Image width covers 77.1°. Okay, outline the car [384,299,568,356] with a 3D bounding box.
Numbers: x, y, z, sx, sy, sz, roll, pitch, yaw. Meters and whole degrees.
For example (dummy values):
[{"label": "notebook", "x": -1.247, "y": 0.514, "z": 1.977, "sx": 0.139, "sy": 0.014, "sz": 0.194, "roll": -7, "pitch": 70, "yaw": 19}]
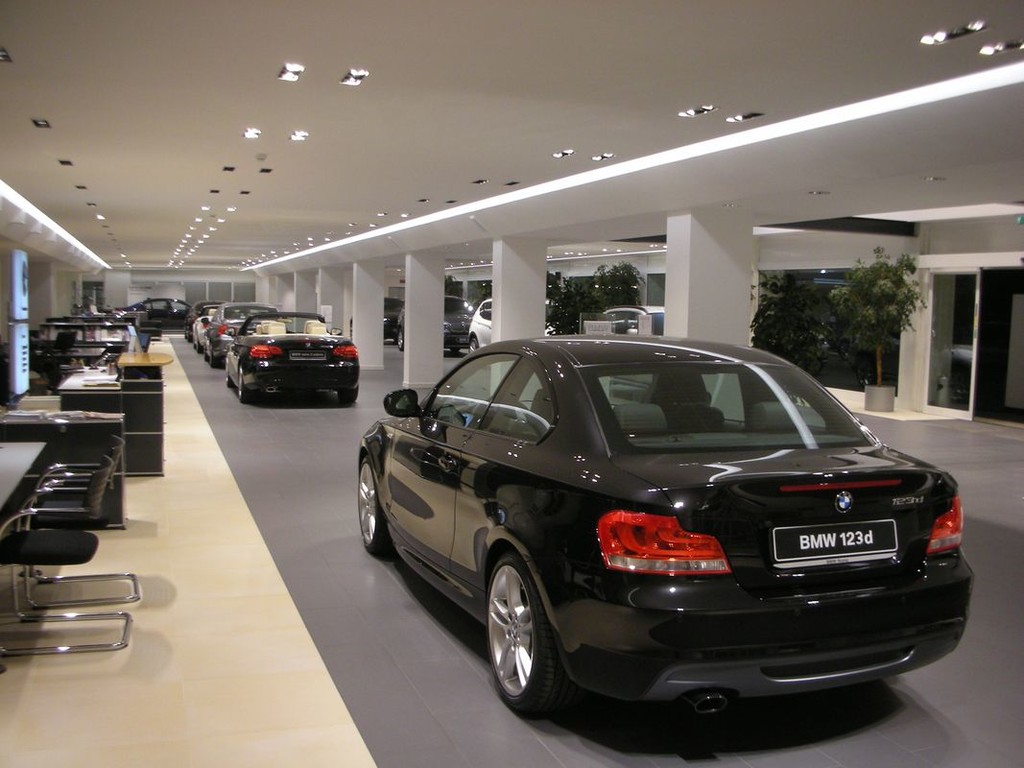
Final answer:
[{"label": "car", "x": -1.289, "y": -2.514, "z": 23.923, "sx": 2.753, "sy": 2.299, "sz": 4.976, "roll": 0, "pitch": 1, "yaw": -38}]
